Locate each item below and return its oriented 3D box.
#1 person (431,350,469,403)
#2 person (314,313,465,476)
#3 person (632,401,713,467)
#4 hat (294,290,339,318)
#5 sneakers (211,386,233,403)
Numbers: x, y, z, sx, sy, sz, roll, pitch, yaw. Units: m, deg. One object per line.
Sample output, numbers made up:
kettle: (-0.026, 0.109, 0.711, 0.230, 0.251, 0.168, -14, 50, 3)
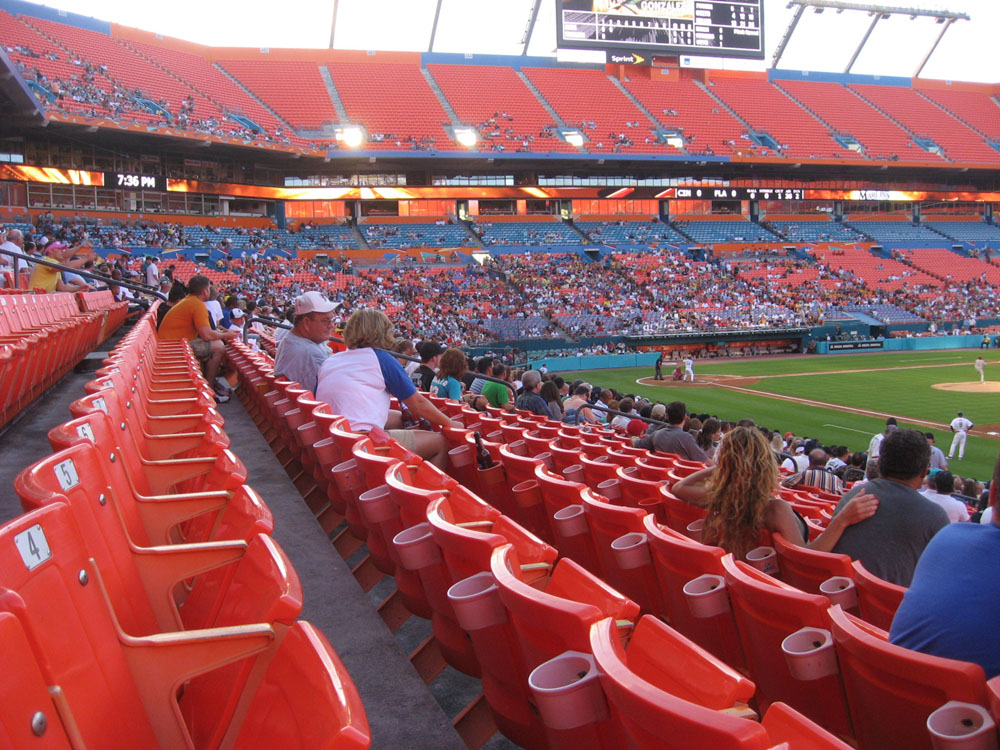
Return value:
person: (-0.587, 0.031, 8.060, 0.364, 0.685, 0.256, 31, 49, 29)
person: (-0.842, 0.315, 5.227, 0.844, 1.513, 1.012, -4, -2, 42)
person: (1.827, 0.591, 7.521, 0.406, 0.587, 1.062, -16, 17, -34)
hat: (-1.609, -0.612, 6.325, 0.372, 0.171, 0.227, -5, 16, -9)
sneakers: (-3.179, 0.223, 8.322, 0.160, 0.168, 0.469, -6, 4, -35)
